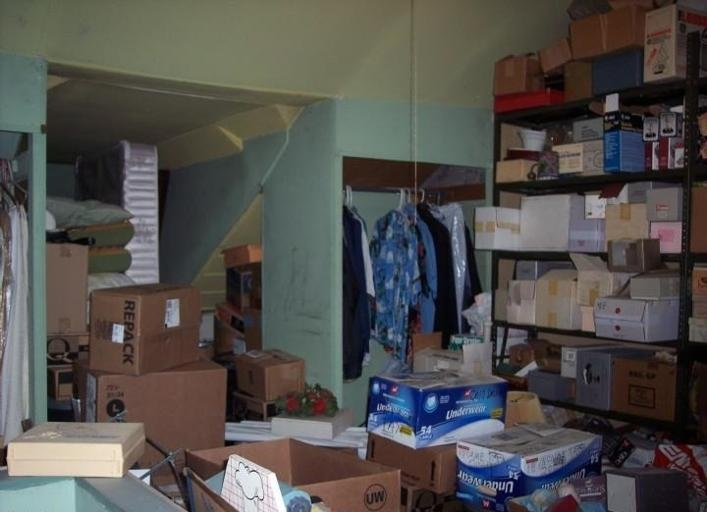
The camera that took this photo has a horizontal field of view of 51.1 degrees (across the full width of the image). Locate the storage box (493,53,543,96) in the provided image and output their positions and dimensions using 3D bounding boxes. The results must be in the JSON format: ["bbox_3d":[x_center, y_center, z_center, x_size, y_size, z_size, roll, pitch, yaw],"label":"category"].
[{"bbox_3d":[1.129,-1.189,4.933,0.290,0.257,0.282,0,3,-35],"label":"storage box"}]

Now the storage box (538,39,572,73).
[{"bbox_3d":[1.319,-1.300,4.751,0.268,0.201,0.144,-7,0,-3],"label":"storage box"}]

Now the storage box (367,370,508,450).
[{"bbox_3d":[0.350,0.766,3.732,0.531,0.259,0.370,1,2,-37],"label":"storage box"}]

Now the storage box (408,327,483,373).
[{"bbox_3d":[0.635,0.660,4.988,0.353,0.225,0.516,-4,1,-37],"label":"storage box"}]

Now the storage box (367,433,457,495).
[{"bbox_3d":[0.305,1.040,3.685,0.277,0.149,0.372,-1,2,-36],"label":"storage box"}]

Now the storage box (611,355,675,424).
[{"bbox_3d":[1.648,0.751,4.180,0.291,0.314,0.282,4,0,39],"label":"storage box"}]

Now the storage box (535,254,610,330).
[{"bbox_3d":[1.326,0.207,4.709,0.288,0.466,0.409,3,2,24],"label":"storage box"}]

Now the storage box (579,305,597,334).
[{"bbox_3d":[1.415,0.386,4.436,0.116,0.193,0.123,2,-2,3],"label":"storage box"}]

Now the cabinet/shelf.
[{"bbox_3d":[1.547,-0.099,4.590,0.558,1.571,1.368,-4,1,-44],"label":"cabinet/shelf"}]

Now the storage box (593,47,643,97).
[{"bbox_3d":[1.595,-1.033,4.393,0.193,0.263,0.358,-2,0,-36],"label":"storage box"}]

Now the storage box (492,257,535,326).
[{"bbox_3d":[1.033,0.248,4.811,0.219,0.384,0.370,-1,4,-11],"label":"storage box"}]

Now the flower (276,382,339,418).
[{"bbox_3d":[-0.275,0.842,4.332,0.194,0.146,0.264,2,-2,-12],"label":"flower"}]

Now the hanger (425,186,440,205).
[{"bbox_3d":[0.597,-0.451,5.563,0.139,0.144,0.101,-4,10,-30],"label":"hanger"}]

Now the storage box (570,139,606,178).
[{"bbox_3d":[1.426,-0.596,4.516,0.206,0.215,0.113,-2,-2,-30],"label":"storage box"}]

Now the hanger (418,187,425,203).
[{"bbox_3d":[0.513,-0.447,5.516,0.048,0.083,0.102,-3,1,6],"label":"hanger"}]

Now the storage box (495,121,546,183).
[{"bbox_3d":[1.110,-0.626,4.868,0.260,0.318,0.267,-5,3,-16],"label":"storage box"}]

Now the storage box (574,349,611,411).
[{"bbox_3d":[1.469,0.761,4.436,0.227,0.315,0.224,-4,-8,38],"label":"storage box"}]

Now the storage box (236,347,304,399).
[{"bbox_3d":[-0.571,0.797,5.032,0.393,0.299,0.464,-3,1,-33],"label":"storage box"}]

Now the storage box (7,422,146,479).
[{"bbox_3d":[-1.115,0.776,2.964,0.497,0.215,0.241,-3,1,2],"label":"storage box"}]

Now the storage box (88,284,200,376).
[{"bbox_3d":[-1.275,0.441,4.566,0.405,0.490,0.680,1,2,15],"label":"storage box"}]

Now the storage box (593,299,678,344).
[{"bbox_3d":[1.658,0.363,4.305,0.404,0.241,0.395,-4,4,-43],"label":"storage box"}]

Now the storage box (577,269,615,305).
[{"bbox_3d":[1.452,0.186,4.452,0.236,0.247,0.129,5,-2,-8],"label":"storage box"}]

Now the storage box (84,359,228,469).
[{"bbox_3d":[-1.107,0.880,4.331,0.622,0.673,0.441,-1,3,-34],"label":"storage box"}]

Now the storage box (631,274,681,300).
[{"bbox_3d":[1.694,0.173,4.116,0.286,0.139,0.093,-4,2,-42],"label":"storage box"}]

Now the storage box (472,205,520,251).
[{"bbox_3d":[0.948,-0.172,4.873,0.271,0.274,0.210,3,-3,-42],"label":"storage box"}]
